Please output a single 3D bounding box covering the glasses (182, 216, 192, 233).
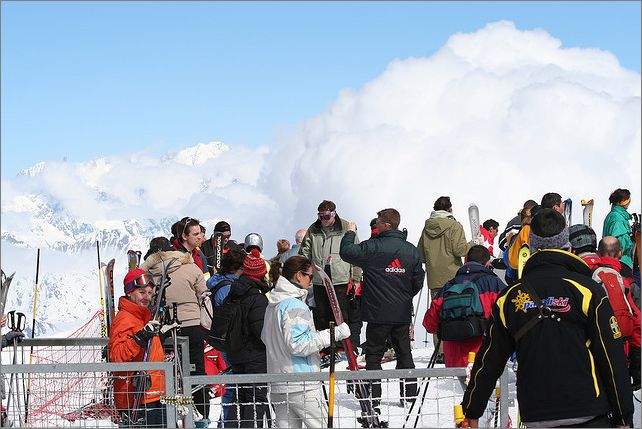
[{"bbox_3d":[-1.641,0.118,12.638,0.090,0.225,0.247,2,-15,-12],"label":"glasses"}]

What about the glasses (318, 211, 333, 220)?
[{"bbox_3d":[0.055,0.011,14.063,0.249,0.096,0.140,-14,-19,39],"label":"glasses"}]

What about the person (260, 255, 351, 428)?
[{"bbox_3d":[-0.188,1.205,9.981,0.857,1.643,0.666,-4,-16,11],"label":"person"}]

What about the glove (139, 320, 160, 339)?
[{"bbox_3d":[-1.561,1.044,9.530,0.118,0.158,0.071,6,-13,22],"label":"glove"}]

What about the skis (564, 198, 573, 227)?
[{"bbox_3d":[2.994,-0.048,12.521,0.098,0.378,0.129,-1,30,9],"label":"skis"}]

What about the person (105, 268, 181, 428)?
[{"bbox_3d":[-1.697,1.222,9.776,0.574,1.537,0.747,3,-16,-14],"label":"person"}]

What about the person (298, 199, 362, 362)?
[{"bbox_3d":[0.148,0.923,14.531,0.884,2.187,0.689,-1,10,2],"label":"person"}]

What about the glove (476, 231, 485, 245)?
[{"bbox_3d":[2.504,0.354,16.187,0.113,0.180,0.170,-5,17,0],"label":"glove"}]

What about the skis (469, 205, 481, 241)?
[{"bbox_3d":[2.210,0.093,14.819,0.151,0.612,0.116,-2,13,6],"label":"skis"}]

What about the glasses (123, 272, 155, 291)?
[{"bbox_3d":[-1.754,0.649,10.033,0.227,0.117,0.178,-18,-11,32],"label":"glasses"}]

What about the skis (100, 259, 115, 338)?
[{"bbox_3d":[-2.306,0.948,11.371,0.130,0.775,0.079,1,1,18],"label":"skis"}]
